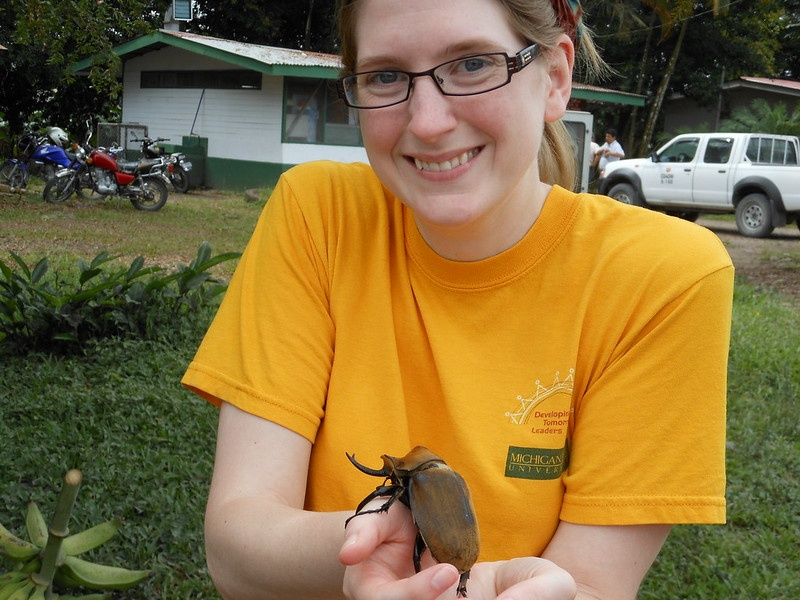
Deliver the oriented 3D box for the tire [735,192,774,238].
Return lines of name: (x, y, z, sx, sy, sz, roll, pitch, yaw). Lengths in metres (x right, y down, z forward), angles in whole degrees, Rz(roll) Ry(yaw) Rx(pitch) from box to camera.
tire: (7.514, -1.808, 14.190, 0.328, 1.056, 0.858, -5, 4, -34)

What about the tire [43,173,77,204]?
tire: (-6.473, -2.124, 12.863, 0.158, 0.554, 0.570, 43, -5, 48)

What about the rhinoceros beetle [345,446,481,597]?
rhinoceros beetle: (0.057, 0.425, 1.465, 0.228, 0.170, 0.306, 21, 19, -49)

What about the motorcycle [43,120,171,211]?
motorcycle: (-5.629, -2.582, 13.272, 2.140, 1.463, 1.264, 5, 7, 0)

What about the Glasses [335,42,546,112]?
Glasses: (0.111, -0.559, 1.671, 0.463, 0.196, 0.111, 6, 5, 7)
